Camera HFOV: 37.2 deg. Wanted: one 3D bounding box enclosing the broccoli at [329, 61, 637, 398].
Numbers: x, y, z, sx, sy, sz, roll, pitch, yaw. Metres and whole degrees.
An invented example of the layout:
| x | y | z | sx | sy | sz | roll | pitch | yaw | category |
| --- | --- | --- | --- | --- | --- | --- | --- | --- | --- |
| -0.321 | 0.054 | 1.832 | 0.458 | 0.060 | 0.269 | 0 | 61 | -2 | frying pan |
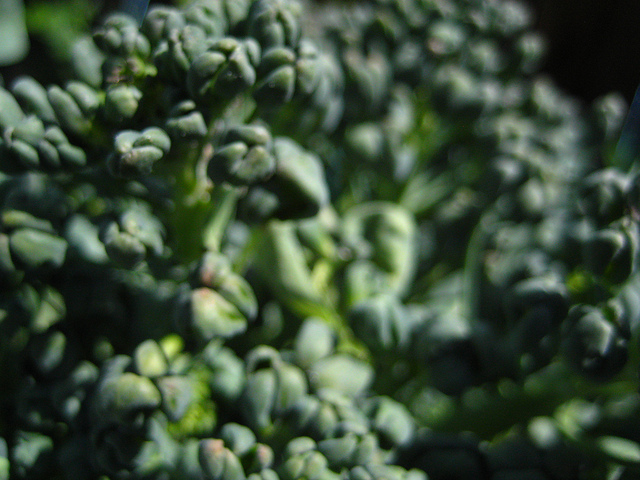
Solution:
| x | y | z | sx | sy | sz | roll | pitch | yaw | category |
| --- | --- | --- | --- | --- | --- | --- | --- | --- | --- |
| 0.114 | -0.007 | 0.715 | 0.231 | 0.213 | 0.142 | 11 | 22 | -14 | broccoli |
